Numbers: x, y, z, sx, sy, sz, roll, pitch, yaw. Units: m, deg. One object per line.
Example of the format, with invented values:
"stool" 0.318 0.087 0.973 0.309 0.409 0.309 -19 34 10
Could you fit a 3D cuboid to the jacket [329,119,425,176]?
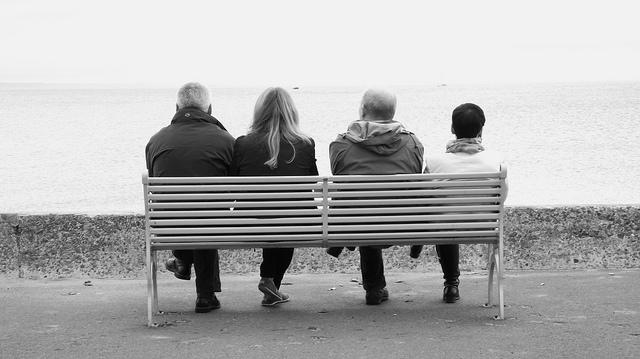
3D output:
"jacket" 0.802 -0.339 12.609 1.581 0.813 0.698 -1 16 -16
